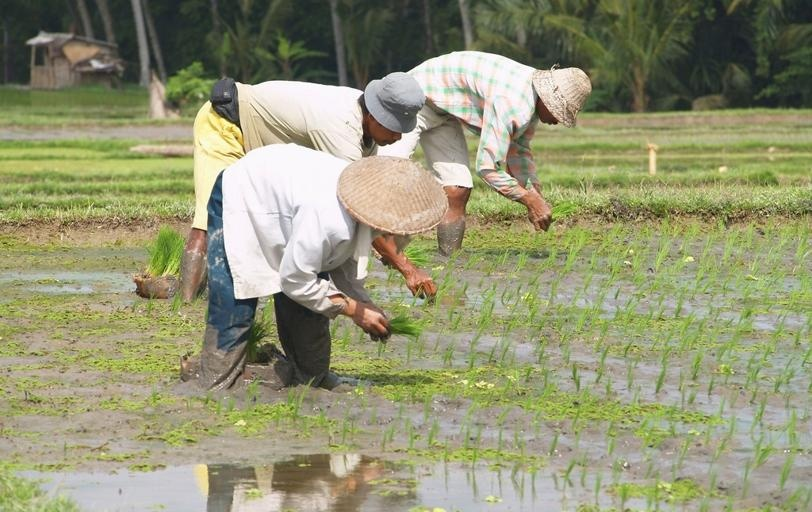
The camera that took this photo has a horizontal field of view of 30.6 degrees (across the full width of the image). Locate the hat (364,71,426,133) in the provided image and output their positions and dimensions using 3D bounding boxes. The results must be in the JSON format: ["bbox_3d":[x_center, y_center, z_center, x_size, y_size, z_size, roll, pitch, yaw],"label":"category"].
[{"bbox_3d":[-0.076,-1.390,13.136,0.495,0.541,0.280,-29,-1,-37],"label":"hat"}]

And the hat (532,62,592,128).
[{"bbox_3d":[1.635,-1.763,15.382,0.354,0.652,0.590,-28,-14,25],"label":"hat"}]

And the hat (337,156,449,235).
[{"bbox_3d":[-0.114,-0.530,12.735,0.727,0.727,0.292,-33,-18,-43],"label":"hat"}]
